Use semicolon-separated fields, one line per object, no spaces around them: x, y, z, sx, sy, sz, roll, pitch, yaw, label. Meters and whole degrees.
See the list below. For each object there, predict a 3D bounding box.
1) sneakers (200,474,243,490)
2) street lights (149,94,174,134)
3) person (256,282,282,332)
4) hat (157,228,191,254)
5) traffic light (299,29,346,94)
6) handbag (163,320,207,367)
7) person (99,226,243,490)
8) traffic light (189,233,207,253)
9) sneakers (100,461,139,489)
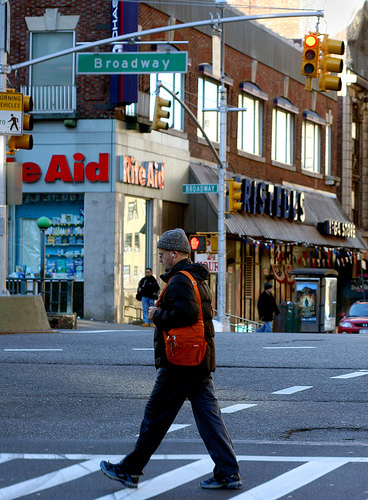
0.320;2.043;11.101;0.342;0.196;0.140;3;-4;7;sneakers
-0.436;-2.614;24.200;0.262;0.666;0.187;11;11;16;street lights
1.848;1.277;27.941;0.482;1.115;1.085;-1;-4;4;person
-0.099;-0.075;11.305;0.237;0.219;0.192;2;-1;8;hat
2.272;-3.035;20.865;0.674;1.041;1.402;-1;-4;5;traffic light
0.017;0.714;11.065;0.335;0.558;0.298;0;33;-12;handbag
-0.051;0.953;11.145;1.083;2.299;0.528;-1;-4;2;person
0.316;-0.156;29.679;0.542;0.638;0.308;-1;5;-13;traffic light
-0.569;1.971;11.038;0.335;0.236;0.232;0;-4;-4;sneakers
